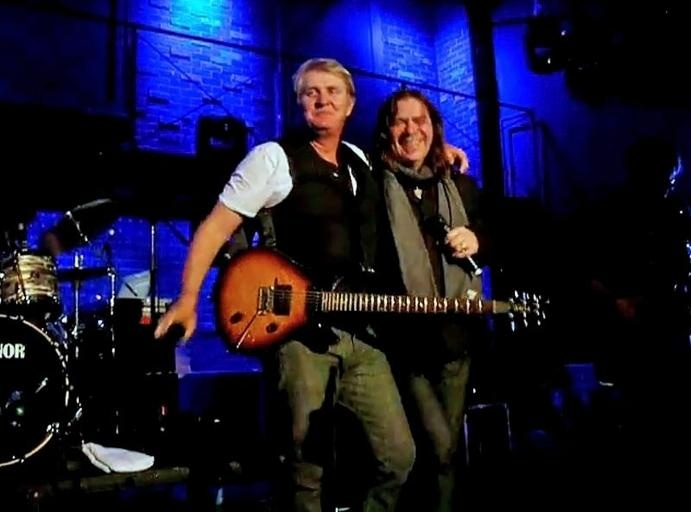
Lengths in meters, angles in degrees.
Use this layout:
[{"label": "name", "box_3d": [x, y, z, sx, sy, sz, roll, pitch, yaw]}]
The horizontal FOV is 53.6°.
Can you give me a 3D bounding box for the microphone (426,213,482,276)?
[{"label": "microphone", "box_3d": [0.674, -0.059, 4.272, 0.231, 0.454, 0.070, -40, 3, 6]}]
